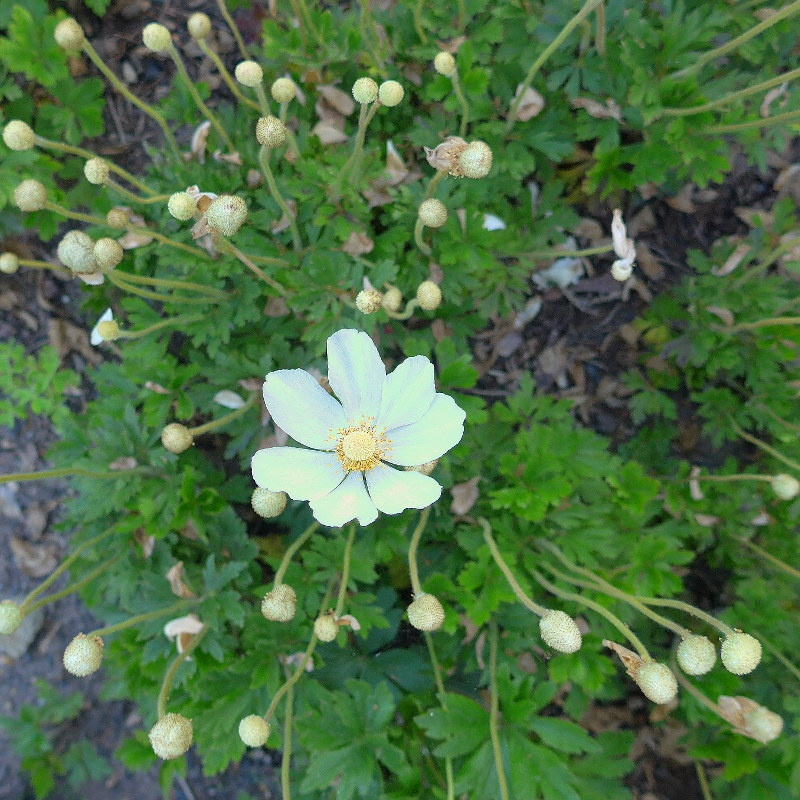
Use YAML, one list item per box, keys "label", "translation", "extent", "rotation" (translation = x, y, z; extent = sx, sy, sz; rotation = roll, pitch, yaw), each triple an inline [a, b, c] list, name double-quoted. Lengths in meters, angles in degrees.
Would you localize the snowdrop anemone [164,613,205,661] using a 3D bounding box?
- label: "snowdrop anemone"
  translation: [-0.948, 1.027, 3.440]
  extent: [0.136, 0.049, 0.186]
  rotation: [33, 84, 19]
